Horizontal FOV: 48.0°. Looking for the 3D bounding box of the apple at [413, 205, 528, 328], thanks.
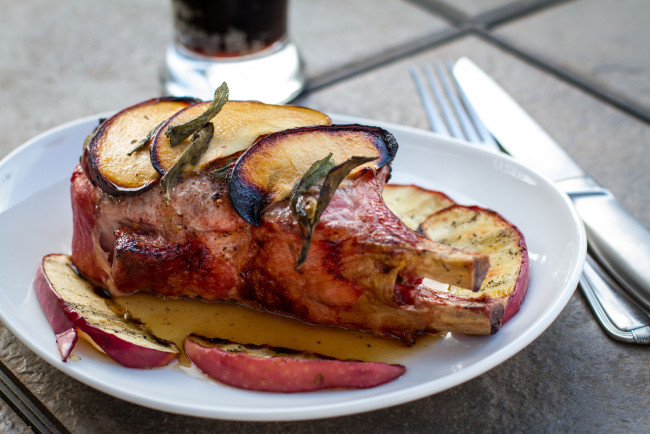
[{"bbox_3d":[0.416,0.137,2.081,0.292,0.101,0.428,9,46,8],"label":"apple"}]
